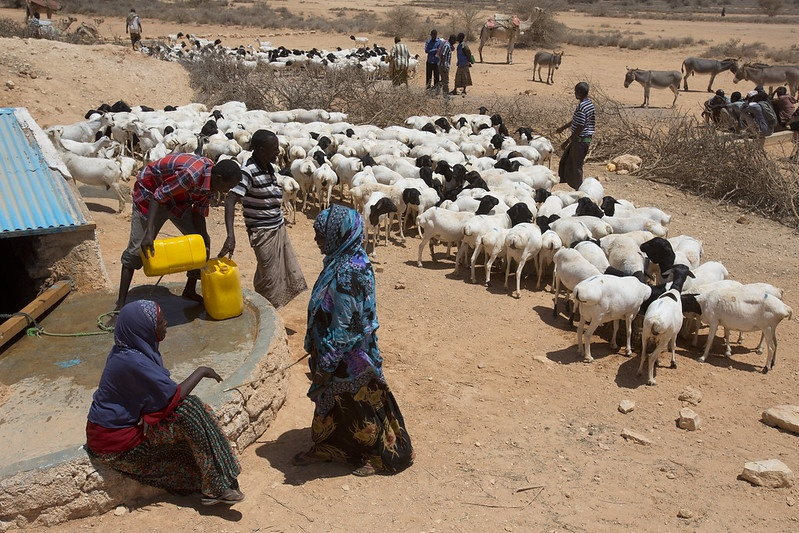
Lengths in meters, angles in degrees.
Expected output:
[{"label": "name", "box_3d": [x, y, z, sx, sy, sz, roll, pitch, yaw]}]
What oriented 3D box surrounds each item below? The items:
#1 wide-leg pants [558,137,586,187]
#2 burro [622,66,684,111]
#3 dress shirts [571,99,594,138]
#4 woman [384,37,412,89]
[{"label": "wide-leg pants", "box_3d": [3.800, -2.280, 14.715, 0.623, 0.650, 1.614, -7, 11, 16]}, {"label": "burro", "box_3d": [9.474, -6.748, 25.142, 2.292, 1.420, 0.588, -1, 12, -4]}, {"label": "dress shirts", "box_3d": [3.827, -3.070, 13.875, 0.466, 0.756, 0.315, 3, 20, -3]}, {"label": "woman", "box_3d": [-0.050, -6.964, 22.659, 0.689, 1.706, 0.550, -15, 41, -24]}]
